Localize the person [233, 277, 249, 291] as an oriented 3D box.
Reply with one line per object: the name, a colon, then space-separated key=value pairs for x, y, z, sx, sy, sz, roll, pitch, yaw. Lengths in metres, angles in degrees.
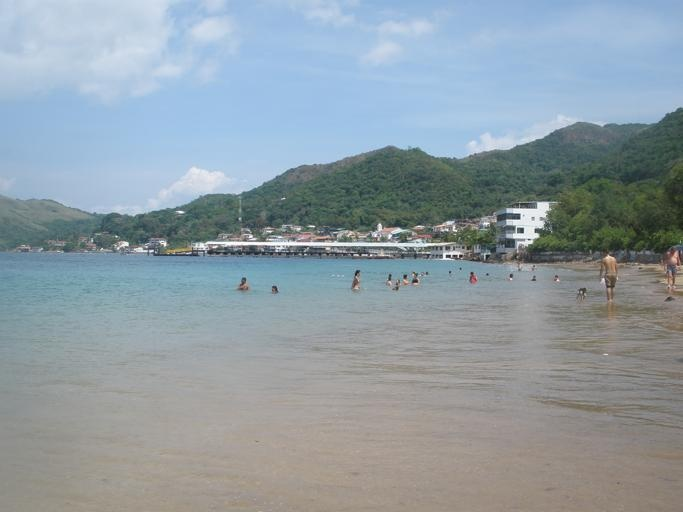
person: x=-8.928 y=2.527 z=62.332 sx=0.600 sy=0.900 sz=0.881 roll=6 pitch=-8 yaw=13

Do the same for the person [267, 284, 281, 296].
person: x=-4.836 y=2.526 z=50.730 sx=0.630 sy=0.793 sz=1.973 roll=1 pitch=-2 yaw=-4
